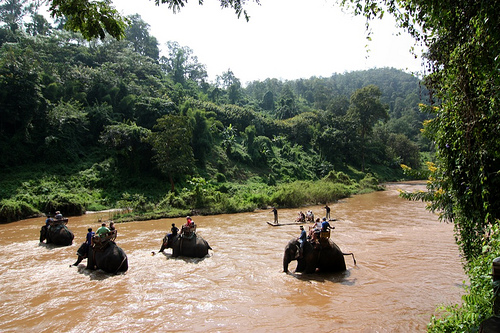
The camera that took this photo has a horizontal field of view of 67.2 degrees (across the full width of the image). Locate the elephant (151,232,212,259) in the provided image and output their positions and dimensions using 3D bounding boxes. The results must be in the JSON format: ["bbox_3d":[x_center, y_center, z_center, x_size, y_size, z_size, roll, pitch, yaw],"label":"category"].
[{"bbox_3d":[-4.250,5.242,23.804,3.498,1.896,1.198,2,-22,7],"label":"elephant"}]

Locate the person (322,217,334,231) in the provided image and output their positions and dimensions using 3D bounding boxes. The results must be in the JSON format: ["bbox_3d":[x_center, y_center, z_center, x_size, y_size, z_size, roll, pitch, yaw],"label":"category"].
[{"bbox_3d":[4.252,3.252,20.963,0.430,0.599,0.880,5,13,20],"label":"person"}]

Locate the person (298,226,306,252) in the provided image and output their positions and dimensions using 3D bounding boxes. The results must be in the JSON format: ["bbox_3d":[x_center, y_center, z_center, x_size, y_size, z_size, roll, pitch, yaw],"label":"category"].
[{"bbox_3d":[2.926,4.038,20.983,0.424,1.323,0.706,-2,13,-9],"label":"person"}]

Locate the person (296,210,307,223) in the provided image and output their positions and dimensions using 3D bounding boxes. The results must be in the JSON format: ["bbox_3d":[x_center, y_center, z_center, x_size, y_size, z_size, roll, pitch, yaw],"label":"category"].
[{"bbox_3d":[4.634,4.542,32.917,0.874,0.989,0.586,0,4,-9],"label":"person"}]

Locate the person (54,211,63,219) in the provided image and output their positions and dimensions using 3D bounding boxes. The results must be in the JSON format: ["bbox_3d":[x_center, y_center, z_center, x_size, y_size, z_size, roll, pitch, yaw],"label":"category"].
[{"bbox_3d":[-13.265,3.349,26.119,0.353,0.537,1.302,-6,14,-26],"label":"person"}]

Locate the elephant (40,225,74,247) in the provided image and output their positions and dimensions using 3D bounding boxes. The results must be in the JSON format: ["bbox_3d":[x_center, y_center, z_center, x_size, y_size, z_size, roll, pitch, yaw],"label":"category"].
[{"bbox_3d":[-13.345,4.845,26.148,2.276,1.323,1.075,6,-2,17],"label":"elephant"}]

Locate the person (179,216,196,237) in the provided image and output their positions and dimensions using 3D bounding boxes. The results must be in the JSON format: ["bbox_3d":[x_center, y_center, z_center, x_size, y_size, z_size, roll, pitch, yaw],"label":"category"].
[{"bbox_3d":[-3.838,3.633,23.163,0.911,1.281,0.804,-3,13,-11],"label":"person"}]

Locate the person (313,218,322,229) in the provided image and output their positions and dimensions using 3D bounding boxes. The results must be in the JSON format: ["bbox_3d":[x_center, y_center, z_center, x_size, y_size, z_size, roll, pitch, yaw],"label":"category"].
[{"bbox_3d":[3.841,3.275,21.262,0.450,0.524,0.854,2,13,10],"label":"person"}]

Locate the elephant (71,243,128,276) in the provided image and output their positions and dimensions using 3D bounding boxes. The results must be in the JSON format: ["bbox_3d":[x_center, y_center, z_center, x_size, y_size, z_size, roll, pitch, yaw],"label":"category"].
[{"bbox_3d":[-8.882,5.332,21.962,3.438,1.927,1.343,5,11,17],"label":"elephant"}]

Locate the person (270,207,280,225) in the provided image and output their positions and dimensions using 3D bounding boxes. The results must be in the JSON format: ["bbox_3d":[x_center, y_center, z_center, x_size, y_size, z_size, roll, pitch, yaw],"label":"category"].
[{"bbox_3d":[2.296,4.622,34.415,0.601,1.727,1.226,0,4,16],"label":"person"}]
